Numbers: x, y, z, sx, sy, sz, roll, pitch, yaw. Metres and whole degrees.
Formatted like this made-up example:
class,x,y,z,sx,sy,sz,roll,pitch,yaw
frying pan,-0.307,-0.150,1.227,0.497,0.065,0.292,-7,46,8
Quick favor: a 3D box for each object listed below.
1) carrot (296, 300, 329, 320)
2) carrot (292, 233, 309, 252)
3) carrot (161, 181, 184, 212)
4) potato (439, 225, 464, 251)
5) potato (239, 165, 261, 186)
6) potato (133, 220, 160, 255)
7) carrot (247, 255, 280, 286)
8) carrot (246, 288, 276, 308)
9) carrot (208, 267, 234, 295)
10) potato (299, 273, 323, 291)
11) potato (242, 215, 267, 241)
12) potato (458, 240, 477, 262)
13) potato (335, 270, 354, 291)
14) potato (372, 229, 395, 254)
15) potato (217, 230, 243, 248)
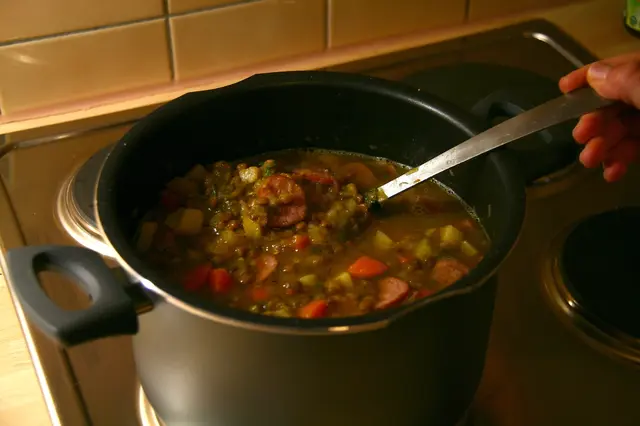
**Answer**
class,x,y,z,sx,sy,sz,roll,pitch,yaw
carrot,-0.009,0.164,0.924,0.038,0.028,0.021,-8,102,-15
carrot,-0.038,0.059,1.065,0.032,0.017,0.029,-2,88,-25
carrot,-0.301,-0.032,1.097,0.019,0.049,0.068,-7,64,20
potato,0.259,0.049,1.085,0.047,0.028,0.045,1,57,10
potato,-0.149,-0.078,1.130,0.039,0.010,0.036,8,78,21
potato,-0.333,0.045,1.050,0.038,0.015,0.058,10,85,-13
carrot,-0.097,0.098,1.040,0.047,0.061,0.011,-7,46,4
carrot,-0.111,0.152,0.980,0.033,0.009,0.038,8,53,5
carrot,-0.183,0.123,0.993,0.043,0.027,0.042,45,66,-7
potato,-0.017,0.127,1.008,0.029,0.011,0.031,-1,38,1
potato,-0.129,0.029,1.071,0.033,0.012,0.046,-34,79,15
potato,0.288,0.072,1.066,0.034,0.029,0.049,-7,32,-11
potato,0.045,0.125,1.001,0.029,0.028,0.028,-26,67,-1
potato,0.126,0.056,1.089,0.033,0.012,0.057,-8,48,-10
potato,-0.172,0.050,1.057,0.034,0.034,0.025,-39,95,16
